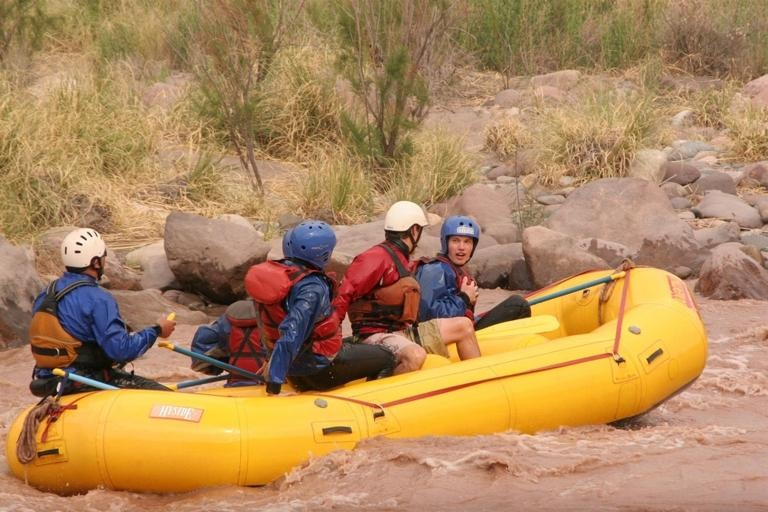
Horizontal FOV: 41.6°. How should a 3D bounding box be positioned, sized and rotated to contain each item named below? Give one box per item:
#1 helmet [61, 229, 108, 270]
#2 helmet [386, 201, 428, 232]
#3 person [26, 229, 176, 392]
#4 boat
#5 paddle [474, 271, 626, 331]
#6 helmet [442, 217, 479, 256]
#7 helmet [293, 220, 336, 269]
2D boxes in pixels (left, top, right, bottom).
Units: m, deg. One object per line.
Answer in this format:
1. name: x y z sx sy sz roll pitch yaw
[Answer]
1. helmet: -3.300 -0.061 11.155 0.446 0.485 0.585 0 -7 29
2. helmet: 0.274 -0.463 11.558 0.431 0.217 0.306 -10 14 -33
3. person: -3.118 0.603 10.836 1.307 1.688 0.819 -2 14 -14
4. boat: -0.099 1.583 11.244 5.718 1.075 3.152 -10 -2 -11
5. paddle: 1.964 0.490 12.318 2.069 0.090 0.372 -18 -33 9
6. helmet: 0.947 -0.205 12.023 0.422 0.431 0.495 6 -10 4
7. helmet: -0.820 -0.090 10.982 0.456 0.479 0.563 7 3 29
